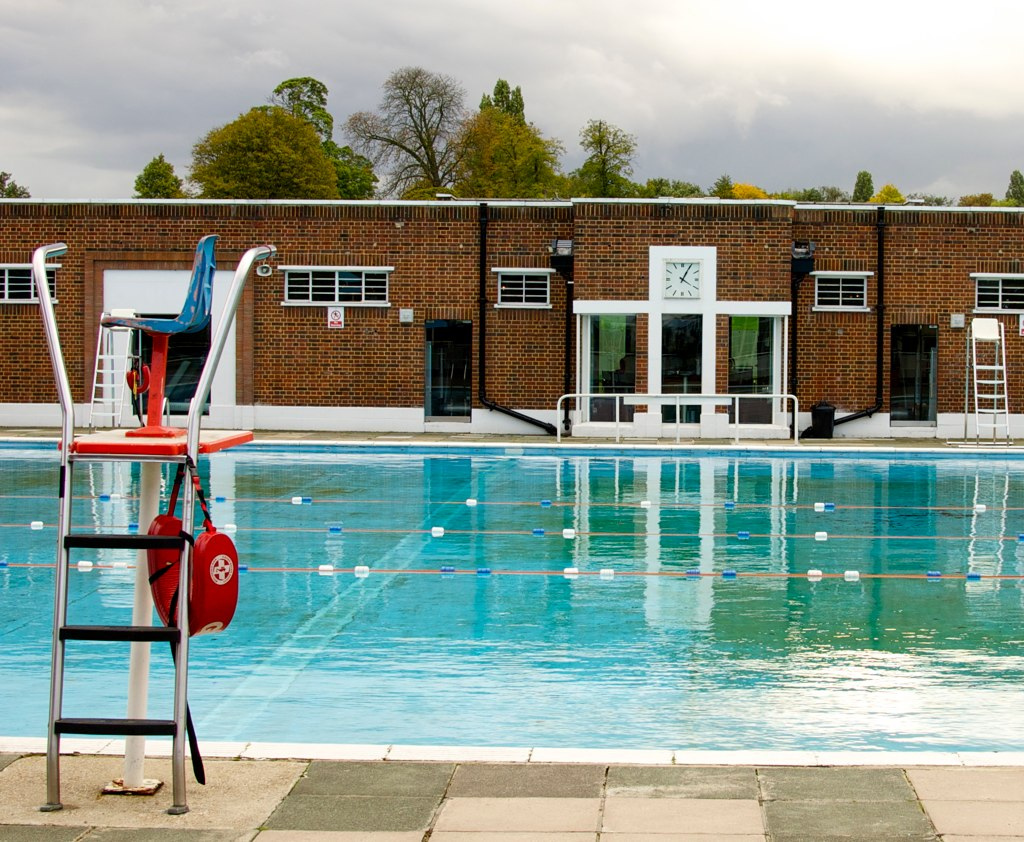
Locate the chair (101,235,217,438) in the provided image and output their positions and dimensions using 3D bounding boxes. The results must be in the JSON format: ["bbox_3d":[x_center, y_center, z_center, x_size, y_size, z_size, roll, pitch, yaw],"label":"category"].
[{"bbox_3d":[-2.109,-0.470,9.598,0.787,1.134,0.688,-1,-2,-16],"label":"chair"}]
